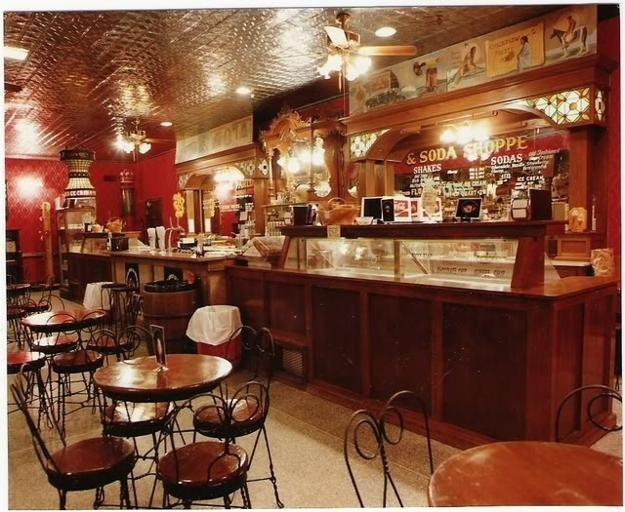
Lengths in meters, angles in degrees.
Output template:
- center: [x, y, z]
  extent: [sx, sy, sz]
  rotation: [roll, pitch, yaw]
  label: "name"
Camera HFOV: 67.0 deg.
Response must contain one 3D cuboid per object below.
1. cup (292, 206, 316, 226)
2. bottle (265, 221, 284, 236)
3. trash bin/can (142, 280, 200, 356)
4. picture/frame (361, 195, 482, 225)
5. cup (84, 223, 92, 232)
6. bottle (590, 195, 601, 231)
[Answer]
- center: [-0.111, -0.449, 5.208]
  extent: [0.285, 0.203, 0.157]
  rotation: [-3, 8, 7]
  label: "cup"
- center: [-0.792, -0.558, 9.321]
  extent: [0.265, 0.262, 0.463]
  rotation: [-8, 8, -26]
  label: "bottle"
- center: [-1.650, 0.701, 5.781]
  extent: [0.766, 1.050, 0.732]
  rotation: [0, 1, -13]
  label: "trash bin/can"
- center: [0.944, -0.438, 4.328]
  extent: [1.207, 0.242, 0.310]
  rotation: [2, 9, 36]
  label: "picture/frame"
- center: [-5.039, -0.645, 10.521]
  extent: [0.197, 0.222, 0.198]
  rotation: [1, 7, 0]
  label: "cup"
- center: [3.260, -0.508, 5.448]
  extent: [0.258, 0.436, 0.098]
  rotation: [-10, 10, -39]
  label: "bottle"
